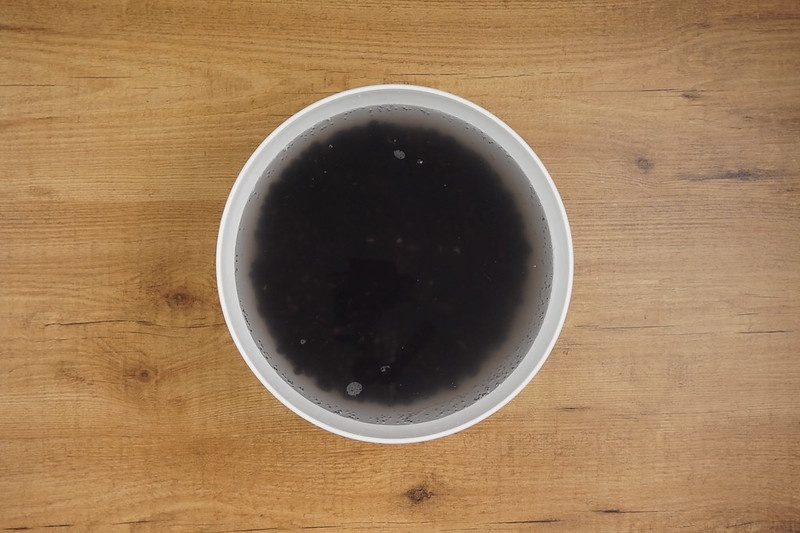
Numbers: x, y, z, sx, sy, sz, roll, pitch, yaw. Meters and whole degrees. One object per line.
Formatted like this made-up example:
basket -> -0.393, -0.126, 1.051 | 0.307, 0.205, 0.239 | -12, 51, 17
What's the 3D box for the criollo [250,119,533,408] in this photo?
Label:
criollo -> -0.020, -0.010, 1.890 | 0.693, 0.134, 0.592 | 0, 91, -1
